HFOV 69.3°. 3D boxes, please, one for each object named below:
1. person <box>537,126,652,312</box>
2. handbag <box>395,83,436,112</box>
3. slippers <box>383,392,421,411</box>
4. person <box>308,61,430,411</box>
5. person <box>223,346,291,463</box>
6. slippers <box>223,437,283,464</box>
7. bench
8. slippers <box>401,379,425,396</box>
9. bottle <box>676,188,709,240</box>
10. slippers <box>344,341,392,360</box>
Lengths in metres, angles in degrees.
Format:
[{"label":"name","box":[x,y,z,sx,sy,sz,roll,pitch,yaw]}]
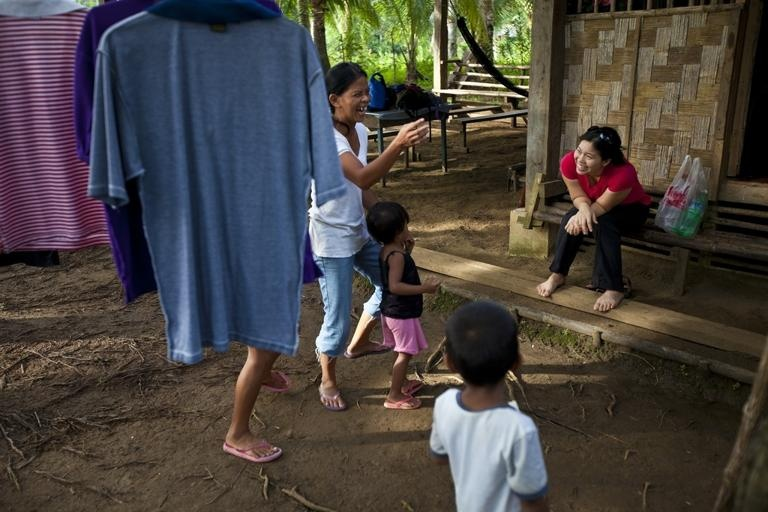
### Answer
[{"label":"person","box":[1.770,-0.362,4.666,0.685,1.407,0.822,11,24,32]},{"label":"handbag","box":[0.497,-2.558,9.041,0.578,0.237,0.465,14,21,22]},{"label":"slippers","box":[0.132,1.030,3.933,0.202,0.054,0.117,-1,21,6]},{"label":"person","box":[-0.224,-0.072,3.735,0.765,2.327,0.894,-18,25,-36]},{"label":"person","box":[-0.842,1.011,3.669,0.551,0.962,0.261,9,30,-9]},{"label":"slippers","box":[-0.839,1.203,3.517,0.286,0.076,0.165,5,7,23]},{"label":"bench","box":[2.111,-2.983,11.782,1.944,0.371,1.881,-20,30,-31]},{"label":"slippers","box":[0.199,0.959,4.074,0.076,0.051,0.195,15,28,34]},{"label":"bottle","box":[2.718,-0.381,4.866,0.134,0.339,0.460,14,25,36]},{"label":"slippers","box":[-0.137,0.734,4.392,0.352,0.091,0.139,-8,11,-31]}]
